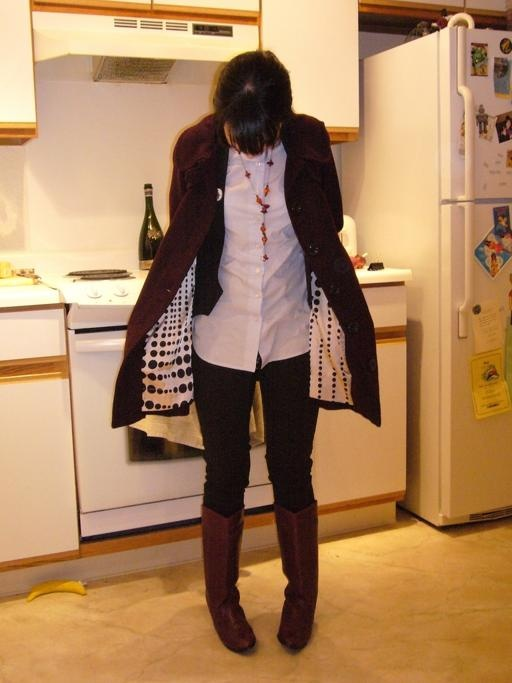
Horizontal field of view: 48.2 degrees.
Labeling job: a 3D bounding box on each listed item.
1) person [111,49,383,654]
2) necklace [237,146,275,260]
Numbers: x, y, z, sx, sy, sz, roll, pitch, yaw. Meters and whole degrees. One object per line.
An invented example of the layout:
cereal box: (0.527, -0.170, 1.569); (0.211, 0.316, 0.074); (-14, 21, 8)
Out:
person: (0.004, 0.100, 1.120); (0.422, 1.124, 0.441); (1, 2, 44)
necklace: (0.016, -0.240, 1.017); (0.028, 0.188, 0.048); (0, 1, 11)
